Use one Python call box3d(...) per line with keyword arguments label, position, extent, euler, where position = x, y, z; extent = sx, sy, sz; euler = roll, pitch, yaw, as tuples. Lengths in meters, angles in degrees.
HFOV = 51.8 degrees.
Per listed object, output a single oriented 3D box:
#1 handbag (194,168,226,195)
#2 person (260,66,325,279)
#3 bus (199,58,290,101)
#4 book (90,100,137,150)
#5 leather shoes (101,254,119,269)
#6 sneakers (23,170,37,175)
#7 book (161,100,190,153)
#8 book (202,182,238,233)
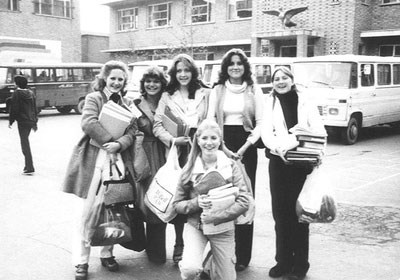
box3d(label="handbag", position=(0.100, 0.467, 4.597), extent=(0.358, 0.229, 0.116), euler=(-27, -21, -3))
box3d(label="person", position=(1.091, 0.412, 5.067), extent=(0.763, 2.576, 0.711), euler=(4, 15, 15))
box3d(label="bus", position=(1.336, -2.432, 15.051), extent=(3.632, 1.514, 2.237), euler=(-1, 8, 13))
box3d(label="book", position=(-1.048, -0.249, 5.161), extent=(0.450, 0.472, 0.196), euler=(-2, 15, -7))
box3d(label="leather shoes", position=(-1.157, 1.585, 5.336), extent=(0.296, 0.098, 0.119), euler=(-3, -4, 45))
box3d(label="sneakers", position=(-3.938, 0.747, 9.482), extent=(0.286, 0.094, 0.111), euler=(3, 3, 1))
box3d(label="book", position=(-0.382, -0.188, 5.462), extent=(0.237, 0.616, 0.508), euler=(-38, 61, -24))
box3d(label="book", position=(0.207, 0.767, 4.568), extent=(0.396, 0.566, 0.148), euler=(0, 15, 0))
